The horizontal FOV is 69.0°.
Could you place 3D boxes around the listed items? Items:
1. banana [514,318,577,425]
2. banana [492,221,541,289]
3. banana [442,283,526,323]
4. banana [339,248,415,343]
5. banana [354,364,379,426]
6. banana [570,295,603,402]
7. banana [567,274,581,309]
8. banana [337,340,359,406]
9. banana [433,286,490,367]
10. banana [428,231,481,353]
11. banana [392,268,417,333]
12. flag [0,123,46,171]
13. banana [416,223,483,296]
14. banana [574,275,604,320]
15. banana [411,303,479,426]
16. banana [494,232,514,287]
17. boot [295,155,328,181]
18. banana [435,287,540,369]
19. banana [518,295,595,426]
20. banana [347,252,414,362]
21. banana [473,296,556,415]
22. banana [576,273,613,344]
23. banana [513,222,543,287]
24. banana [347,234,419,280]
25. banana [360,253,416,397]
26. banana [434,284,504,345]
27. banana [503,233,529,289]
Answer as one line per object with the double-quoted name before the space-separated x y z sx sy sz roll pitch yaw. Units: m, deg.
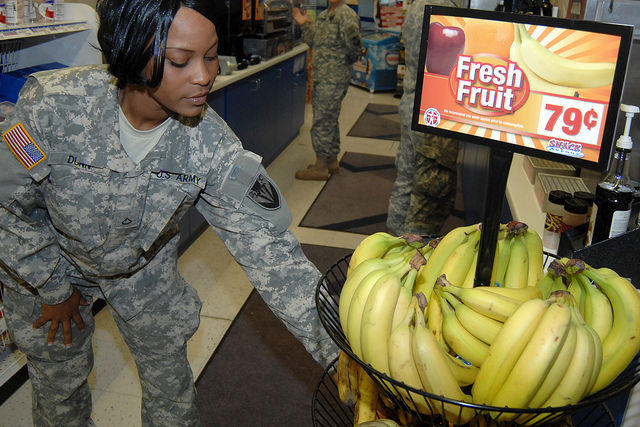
"banana" 0.470 0.321 0.980 0.046 0.229 0.077 28 6 -18
"banana" 0.518 0.111 1.232 0.105 0.204 0.081 -2 -4 20
"banana" 0.386 0.218 1.102 0.209 0.073 0.059 12 13 -11
"banana" 0.117 0.179 1.196 0.126 0.343 0.096 19 28 -8
"banana" 0.116 0.483 1.249 0.063 0.199 0.040 -3 -5 -20
"banana" 0.579 0.295 1.043 0.076 0.234 0.054 -4 1 11
"banana" 0.603 0.187 1.111 0.019 0.083 0.031 -6 -1 21
"banana" 0.073 0.433 1.276 0.049 0.166 0.042 11 -31 -38
"banana" 0.329 0.286 1.098 0.050 0.074 0.202 4 27 -28
"banana" 0.327 0.200 1.137 0.060 0.272 0.100 16 -14 11
"banana" 0.193 0.205 1.080 0.030 0.133 0.044 25 -14 -13
"flag" -0.949 -0.213 1.526 0.097 0.162 0.038 -37 1 -5
"banana" 0.296 0.117 1.239 0.275 0.108 0.086 -15 4 4
"banana" 0.645 0.206 1.138 0.055 0.154 0.034 5 -10 -26
"banana" 0.281 0.341 1.050 0.100 0.289 0.074 -23 -2 -43
"banana" 0.479 0.124 1.232 0.041 0.153 0.045 4 5 -7
"boot" -0.062 -0.556 5.418 0.427 0.317 0.193 6 21 2
"banana" 0.372 0.235 1.121 0.088 0.138 0.244 -2 31 -39
"banana" 0.518 0.339 1.029 0.072 0.210 0.104 7 4 6
"banana" 0.134 0.202 1.170 0.115 0.320 0.076 19 -1 -5
"banana" 0.419 0.310 1.003 0.064 0.264 0.089 37 5 23
"banana" 0.651 0.227 1.129 0.042 0.163 0.055 3 -17 -38
"banana" 0.536 0.108 1.257 0.087 0.169 0.043 10 -18 -30
"banana" 0.169 0.102 1.355 0.141 0.082 0.288 16 -24 -5
"banana" 0.142 0.239 1.086 0.113 0.316 0.071 14 -4 0
"banana" 0.309 0.249 1.080 0.201 0.053 0.081 35 10 6
"banana" 0.513 0.133 1.219 0.043 0.173 0.058 24 -18 -21
